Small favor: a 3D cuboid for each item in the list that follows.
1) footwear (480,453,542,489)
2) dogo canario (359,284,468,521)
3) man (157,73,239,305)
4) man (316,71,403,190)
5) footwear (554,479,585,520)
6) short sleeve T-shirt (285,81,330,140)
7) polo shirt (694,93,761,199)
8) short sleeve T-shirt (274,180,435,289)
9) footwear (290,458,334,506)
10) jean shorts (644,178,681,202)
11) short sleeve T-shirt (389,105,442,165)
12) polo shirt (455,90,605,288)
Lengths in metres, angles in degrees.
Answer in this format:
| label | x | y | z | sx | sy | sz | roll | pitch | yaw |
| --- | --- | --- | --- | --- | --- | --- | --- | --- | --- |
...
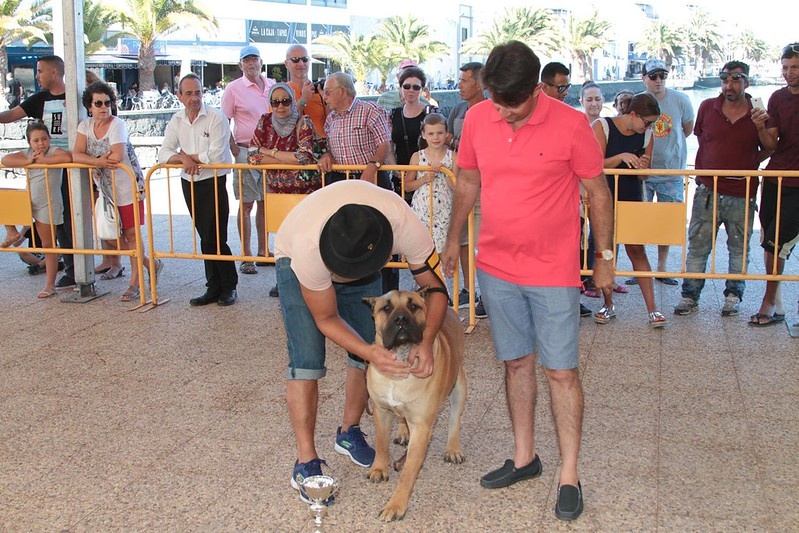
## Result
| label | x | y | z | sx | sy | sz | roll | pitch | yaw |
| --- | --- | --- | --- | --- | --- | --- | --- | --- | --- |
| footwear | 0.748 | 1.409 | 4.208 | 0.463 | 0.171 | 0.164 | -13 | 7 | -9 |
| dogo canario | 0.140 | 0.749 | 4.329 | 0.567 | 1.523 | 1.622 | 4 | 11 | 18 |
| man | -2.397 | -0.966 | 7.455 | 0.814 | 2.783 | 1.070 | -7 | 13 | -30 |
| man | -0.516 | -1.591 | 7.092 | 0.819 | 1.380 | 0.831 | 1 | 11 | 6 |
| footwear | 1.101 | 1.471 | 3.938 | 0.197 | 0.139 | 0.397 | -2 | 17 | 16 |
| short sleeve T-shirt | -1.155 | -2.063 | 8.084 | 0.817 | 0.753 | 0.309 | -6 | 11 | -4 |
| polo shirt | 3.790 | -1.412 | 7.000 | 0.812 | 1.068 | 0.582 | 10 | 35 | 31 |
| short sleeve T-shirt | -0.331 | -0.363 | 4.023 | 1.227 | 0.456 | 1.064 | 7 | 28 | -1 |
| footwear | -0.563 | 1.388 | 4.016 | 0.170 | 0.183 | 0.415 | 0 | 6 | -23 |
| jean shorts | 3.404 | -0.997 | 7.850 | 0.400 | 0.506 | 0.203 | 5 | 14 | 28 |
| short sleeve T-shirt | 0.201 | -1.569 | 7.359 | 0.715 | 0.838 | 0.469 | 10 | 35 | 6 |
| polo shirt | 0.835 | -0.480 | 3.919 | 0.880 | 1.192 | 0.298 | 3 | 11 | 16 |
